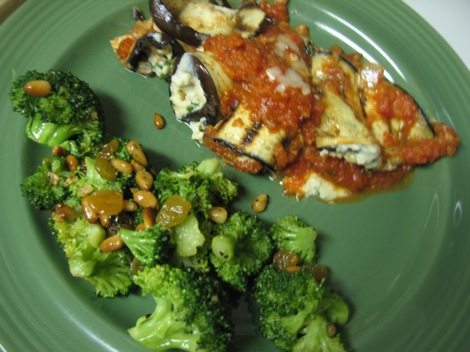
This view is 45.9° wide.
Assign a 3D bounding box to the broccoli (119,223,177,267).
[{"bbox_3d":[-0.793,0.595,5.070,0.373,0.278,0.385,20,46,18],"label":"broccoli"}]

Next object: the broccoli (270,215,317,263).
[{"bbox_3d":[0.574,0.594,5.391,0.485,0.132,0.381,20,85,3],"label":"broccoli"}]

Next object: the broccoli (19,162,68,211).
[{"bbox_3d":[-1.827,0.118,5.216,0.407,0.123,0.431,-39,98,-14],"label":"broccoli"}]

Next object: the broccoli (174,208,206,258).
[{"bbox_3d":[-0.436,0.563,5.170,0.220,0.097,0.479,-8,92,0],"label":"broccoli"}]
